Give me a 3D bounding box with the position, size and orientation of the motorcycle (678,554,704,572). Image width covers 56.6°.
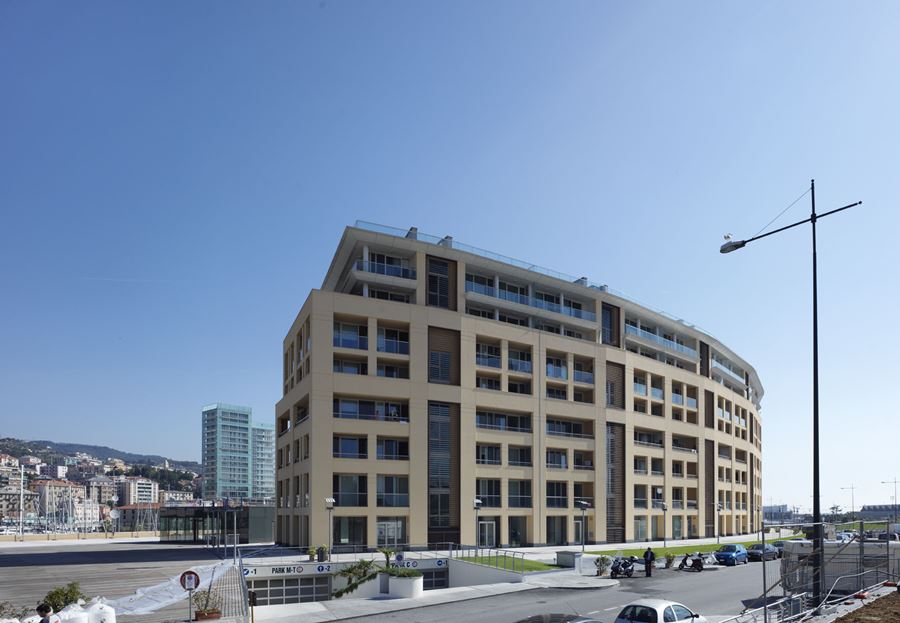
[{"bbox_3d":[21.782,22.860,76.002,1.773,1.382,2.214,3,-6,9],"label":"motorcycle"}]

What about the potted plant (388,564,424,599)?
[{"bbox_3d":[-3.567,21.107,65.334,1.986,1.435,2.193,-2,-9,11],"label":"potted plant"}]

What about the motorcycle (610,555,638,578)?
[{"bbox_3d":[14.438,21.735,70.901,2.882,1.763,1.126,17,-25,-40],"label":"motorcycle"}]

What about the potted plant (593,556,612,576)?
[{"bbox_3d":[12.899,21.734,71.336,1.284,1.538,0.758,9,-17,-9],"label":"potted plant"}]
